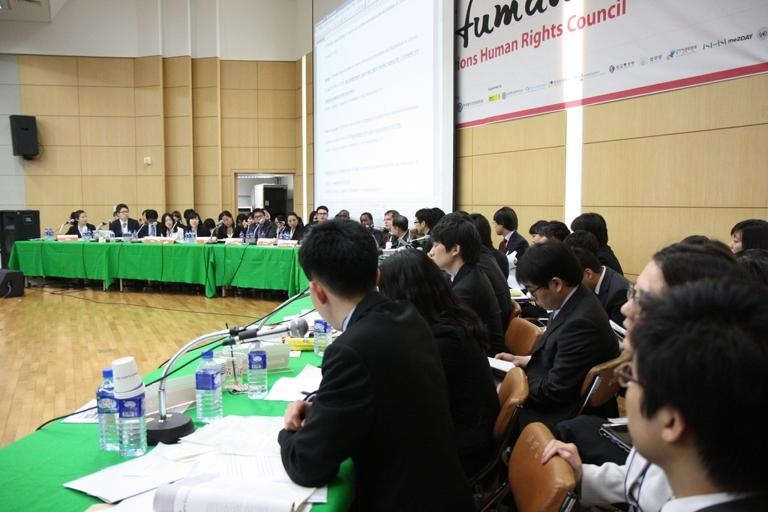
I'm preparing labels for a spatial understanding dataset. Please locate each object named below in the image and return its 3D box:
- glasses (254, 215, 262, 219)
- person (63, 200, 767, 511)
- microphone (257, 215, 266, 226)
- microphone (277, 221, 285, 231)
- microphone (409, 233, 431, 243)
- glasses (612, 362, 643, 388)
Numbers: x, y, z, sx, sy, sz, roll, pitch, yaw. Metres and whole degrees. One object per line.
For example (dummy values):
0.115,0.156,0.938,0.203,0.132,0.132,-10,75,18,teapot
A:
-2.117,-0.641,8.296,0.071,0.060,0.097,0,-4,1,glasses
0.267,0.274,1.693,1.997,1.047,0.654,1,-6,-7,person
-2.039,-0.600,8.262,0.097,0.132,0.143,0,-16,-2,microphone
-1.705,-0.480,8.202,0.113,0.166,0.149,2,2,-11,microphone
0.380,-0.187,5.330,0.170,0.055,0.176,-9,-2,-7,microphone
0.538,0.270,1.095,0.055,0.023,0.056,-6,2,-28,glasses
